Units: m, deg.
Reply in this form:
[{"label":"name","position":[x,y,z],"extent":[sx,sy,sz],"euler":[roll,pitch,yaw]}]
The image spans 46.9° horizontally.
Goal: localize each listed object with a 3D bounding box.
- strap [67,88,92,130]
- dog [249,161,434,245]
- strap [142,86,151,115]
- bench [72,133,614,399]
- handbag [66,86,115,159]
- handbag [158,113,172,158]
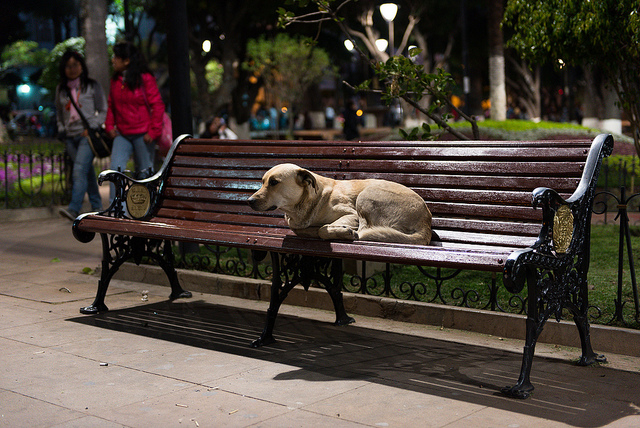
[{"label":"strap","position":[-3.988,-1.763,12.248],"extent":[0.121,0.778,0.084],"euler":[-38,-14,29]},{"label":"dog","position":[0.257,-0.075,6.788],"extent":[1.191,0.532,0.886],"euler":[-3,-3,-5]},{"label":"strap","position":[-2.596,-1.718,11.065],"extent":[0.116,0.408,0.073],"euler":[8,16,35]},{"label":"bench","position":[-0.627,-0.050,8.272],"extent":[7.035,2.471,2.394],"euler":[3,3,33]},{"label":"handbag","position":[-3.701,-1.502,12.089],"extent":[0.366,1.059,0.578],"euler":[-24,5,-34]},{"label":"handbag","position":[-2.463,-1.286,11.803],"extent":[0.238,0.707,0.514],"euler":[1,-1,-16]}]
